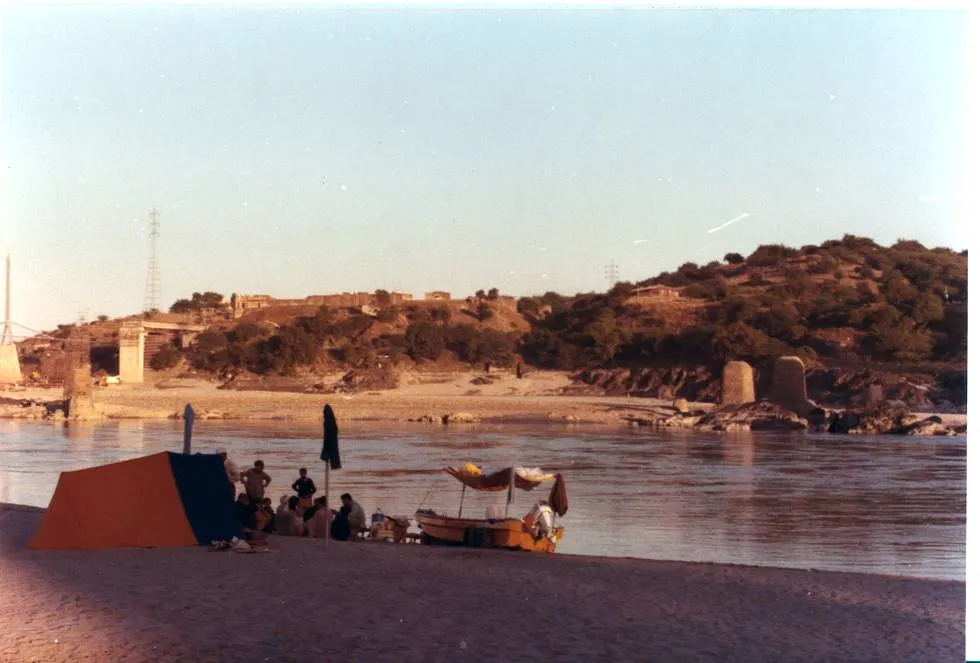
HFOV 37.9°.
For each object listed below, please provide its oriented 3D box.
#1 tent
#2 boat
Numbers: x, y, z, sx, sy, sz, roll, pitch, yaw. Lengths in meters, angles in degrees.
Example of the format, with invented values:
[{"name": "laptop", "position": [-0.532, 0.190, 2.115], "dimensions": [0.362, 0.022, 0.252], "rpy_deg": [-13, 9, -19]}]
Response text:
[{"name": "tent", "position": [-10.208, 4.864, 41.569], "dimensions": [5.222, 2.737, 0.594], "rpy_deg": [0, -2, -14]}, {"name": "boat", "position": [0.111, 5.557, 45.369], "dimensions": [4.164, 2.660, 4.397], "rpy_deg": [-1, -2, 2]}]
